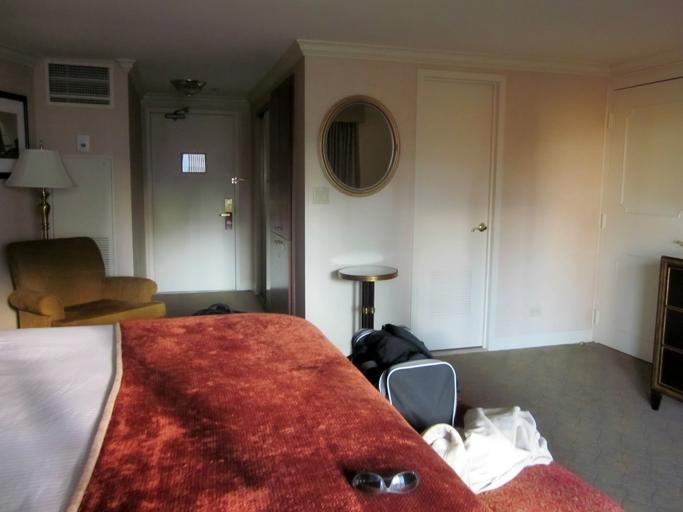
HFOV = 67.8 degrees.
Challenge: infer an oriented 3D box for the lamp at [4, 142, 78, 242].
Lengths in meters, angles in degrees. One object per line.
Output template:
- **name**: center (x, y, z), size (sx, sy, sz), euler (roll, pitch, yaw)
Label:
- **lamp**: center (-2.475, -0.514, 4.204), size (0.478, 0.729, 0.500), euler (-7, 15, -32)

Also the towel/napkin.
- **towel/napkin**: center (0.594, 0.730, 2.099), size (0.510, 0.189, 0.393), euler (-21, 24, -29)

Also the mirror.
- **mirror**: center (0.104, -0.897, 4.009), size (0.738, 0.956, 0.068), euler (0, 9, -18)
